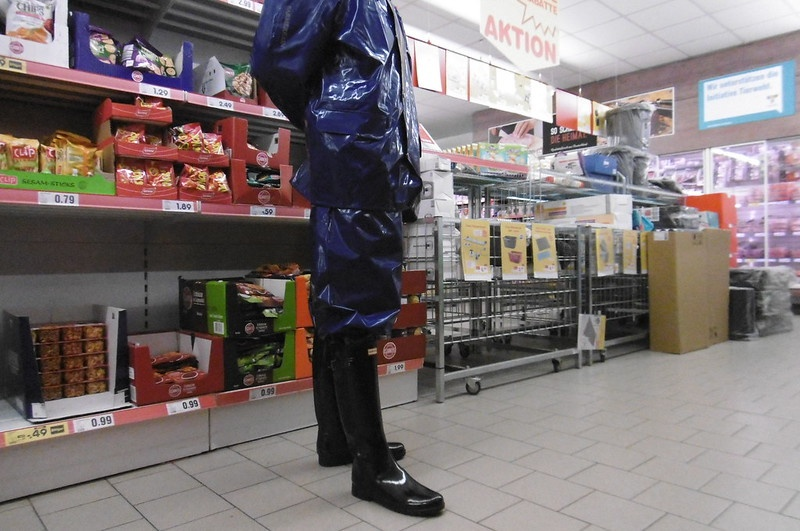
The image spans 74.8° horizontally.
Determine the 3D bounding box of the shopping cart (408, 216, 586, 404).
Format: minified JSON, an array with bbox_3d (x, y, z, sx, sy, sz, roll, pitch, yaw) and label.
[{"bbox_3d":[0.787,0.361,4.214,1.435,0.914,0.538,1,-7,-40],"label":"shopping cart"}]
